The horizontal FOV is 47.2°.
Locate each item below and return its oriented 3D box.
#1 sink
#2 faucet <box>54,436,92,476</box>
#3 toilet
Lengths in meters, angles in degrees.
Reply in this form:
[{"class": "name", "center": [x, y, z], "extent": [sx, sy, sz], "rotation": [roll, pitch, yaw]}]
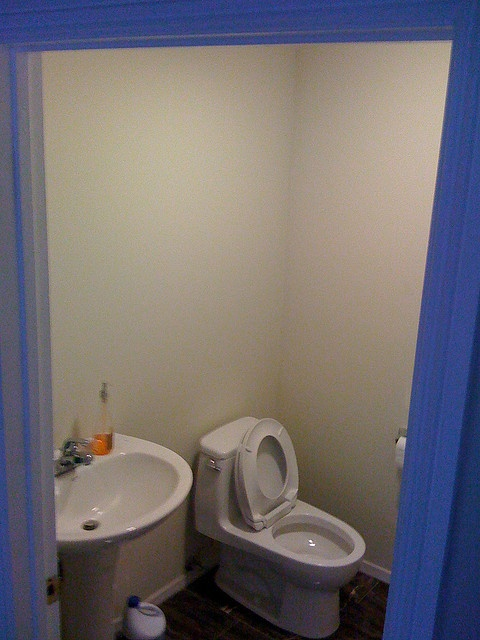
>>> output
[{"class": "sink", "center": [-0.261, 0.413, 1.250], "extent": [0.301, 0.135, 0.366], "rotation": [-4, 18, -23]}, {"class": "faucet", "center": [-0.386, 0.321, 1.330], "extent": [0.036, 0.088, 0.137], "rotation": [4, 7, 29]}, {"class": "toilet", "center": [0.179, 0.512, 1.792], "extent": [0.546, 0.877, 0.358], "rotation": [9, 16, 35]}]
